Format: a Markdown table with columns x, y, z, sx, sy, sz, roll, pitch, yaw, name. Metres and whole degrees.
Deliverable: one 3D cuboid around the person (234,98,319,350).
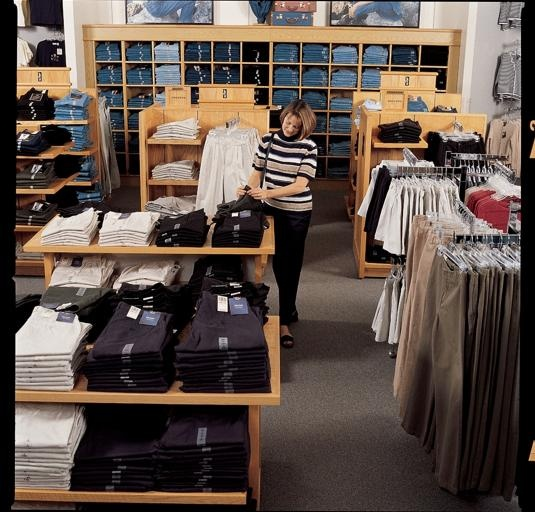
| x | y | z | sx | sy | sz | roll | pitch | yaw | name |
| --- | --- | --- | --- | --- | --- | --- | --- | --- | --- |
| 0.118 | -0.249 | 4.016 | 0.611 | 2.198 | 0.509 | 1 | 17 | 7 | person |
